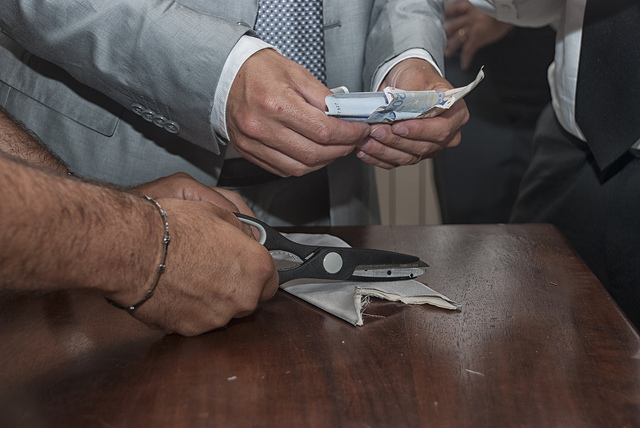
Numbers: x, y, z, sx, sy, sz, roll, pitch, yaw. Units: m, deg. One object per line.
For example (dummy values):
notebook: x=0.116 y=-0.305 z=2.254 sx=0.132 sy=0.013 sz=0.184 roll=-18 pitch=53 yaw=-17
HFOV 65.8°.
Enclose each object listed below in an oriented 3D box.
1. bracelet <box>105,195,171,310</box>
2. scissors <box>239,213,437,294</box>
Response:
bracelet: x=-0.289 y=0.068 z=0.856 sx=0.135 sy=0.025 sz=0.191 roll=-5 pitch=80 yaw=52
scissors: x=0.008 y=0.097 z=1.080 sx=0.481 sy=0.101 sz=0.164 roll=5 pitch=24 yaw=3
